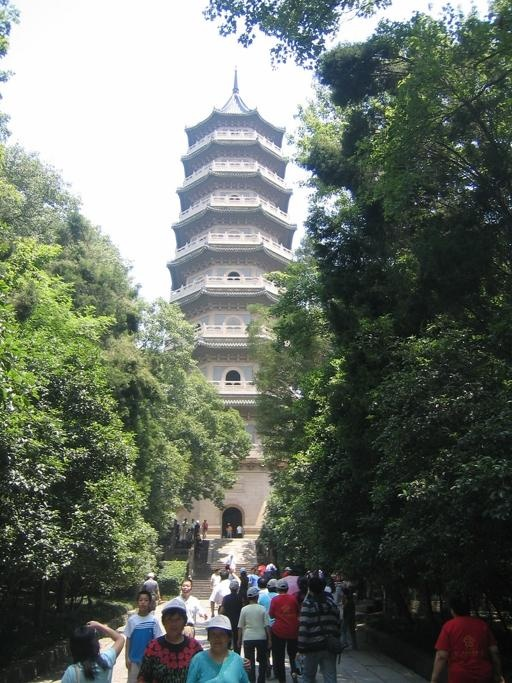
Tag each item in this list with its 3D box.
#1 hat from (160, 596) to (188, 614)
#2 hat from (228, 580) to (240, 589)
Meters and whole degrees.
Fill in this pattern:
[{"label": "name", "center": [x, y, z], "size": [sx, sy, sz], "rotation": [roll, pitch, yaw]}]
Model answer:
[{"label": "hat", "center": [-0.579, 1.837, 5.577], "size": [0.157, 0.120, 0.227], "rotation": [0, -39, -2]}, {"label": "hat", "center": [-0.263, 2.948, 9.632], "size": [0.095, 0.074, 0.142], "rotation": [3, 6, -1]}]
